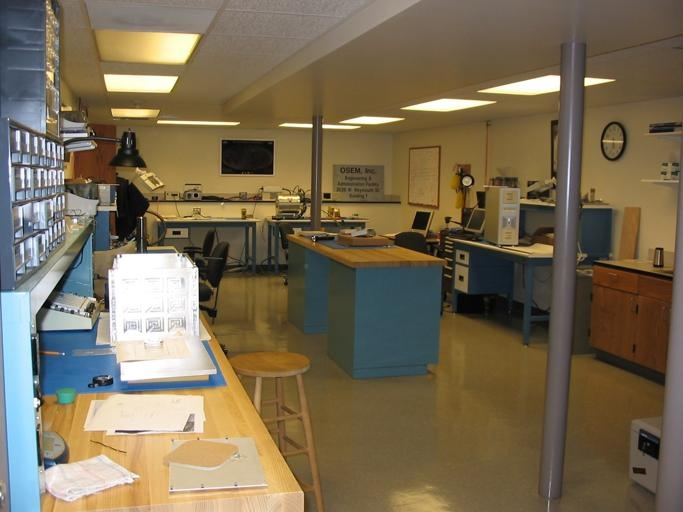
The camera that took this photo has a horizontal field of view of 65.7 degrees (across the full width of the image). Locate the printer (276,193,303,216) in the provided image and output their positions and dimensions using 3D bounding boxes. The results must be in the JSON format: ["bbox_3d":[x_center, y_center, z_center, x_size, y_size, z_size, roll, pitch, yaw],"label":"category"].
[{"bbox_3d":[-0.926,-0.861,9.196,0.476,0.430,0.347,0,4,-15],"label":"printer"}]

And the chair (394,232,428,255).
[{"bbox_3d":[0.933,-0.167,7.080,0.301,0.476,0.338,0,0,0],"label":"chair"}]

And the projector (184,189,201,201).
[{"bbox_3d":[-2.696,-1.092,9.432,0.345,0.207,0.174,5,8,2],"label":"projector"}]

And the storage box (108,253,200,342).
[{"bbox_3d":[-0.913,0.145,2.570,0.448,0.435,0.314,1,5,-19],"label":"storage box"}]

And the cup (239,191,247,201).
[{"bbox_3d":[-1.837,-1.113,9.858,0.141,0.185,0.195,-3,0,39],"label":"cup"}]

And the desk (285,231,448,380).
[{"bbox_3d":[0.172,0.423,5.103,0.846,1.069,1.608,1,9,-26],"label":"desk"}]

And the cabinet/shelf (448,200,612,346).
[{"bbox_3d":[2.182,0.099,6.448,0.958,1.541,2.079,2,7,-11],"label":"cabinet/shelf"}]

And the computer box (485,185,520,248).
[{"bbox_3d":[1.828,-0.456,6.019,0.428,0.654,0.332,8,9,23],"label":"computer box"}]

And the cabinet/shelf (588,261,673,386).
[{"bbox_3d":[2.527,0.582,4.553,0.575,0.911,0.990,1,5,-9],"label":"cabinet/shelf"}]

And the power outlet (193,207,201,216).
[{"bbox_3d":[-2.595,-0.790,9.392,0.144,0.132,0.140,0,13,-14],"label":"power outlet"}]

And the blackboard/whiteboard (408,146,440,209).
[{"bbox_3d":[1.520,-1.427,9.532,0.052,1.175,1.187,0,5,-18],"label":"blackboard/whiteboard"}]
